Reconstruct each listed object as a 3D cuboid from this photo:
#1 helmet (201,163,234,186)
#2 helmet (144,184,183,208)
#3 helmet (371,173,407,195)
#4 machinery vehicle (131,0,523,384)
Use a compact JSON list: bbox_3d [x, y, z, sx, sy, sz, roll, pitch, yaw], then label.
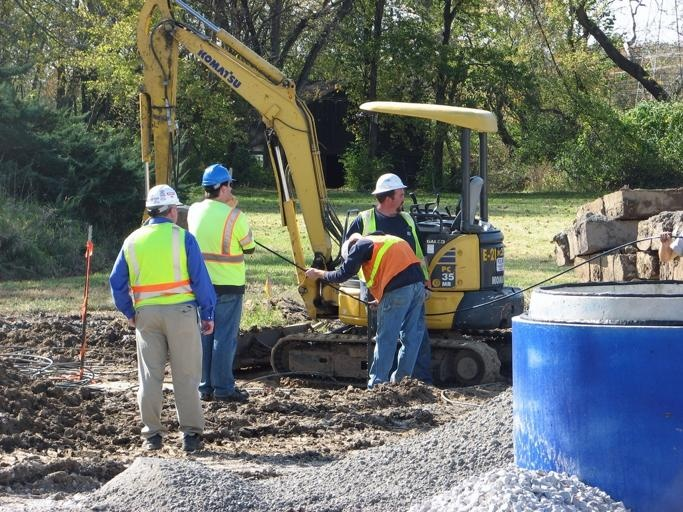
[{"bbox_3d":[-2.413,-1.551,26.846,0.370,0.305,0.509,6,25,34],"label":"helmet"},{"bbox_3d":[-3.382,-1.109,25.443,0.514,0.330,0.389,-6,10,-18],"label":"helmet"},{"bbox_3d":[0.957,-1.423,27.101,0.484,0.290,0.419,-8,8,-7],"label":"helmet"},{"bbox_3d":[-0.397,-1.783,34.271,10.026,10.799,3.831,5,10,23],"label":"machinery vehicle"}]
